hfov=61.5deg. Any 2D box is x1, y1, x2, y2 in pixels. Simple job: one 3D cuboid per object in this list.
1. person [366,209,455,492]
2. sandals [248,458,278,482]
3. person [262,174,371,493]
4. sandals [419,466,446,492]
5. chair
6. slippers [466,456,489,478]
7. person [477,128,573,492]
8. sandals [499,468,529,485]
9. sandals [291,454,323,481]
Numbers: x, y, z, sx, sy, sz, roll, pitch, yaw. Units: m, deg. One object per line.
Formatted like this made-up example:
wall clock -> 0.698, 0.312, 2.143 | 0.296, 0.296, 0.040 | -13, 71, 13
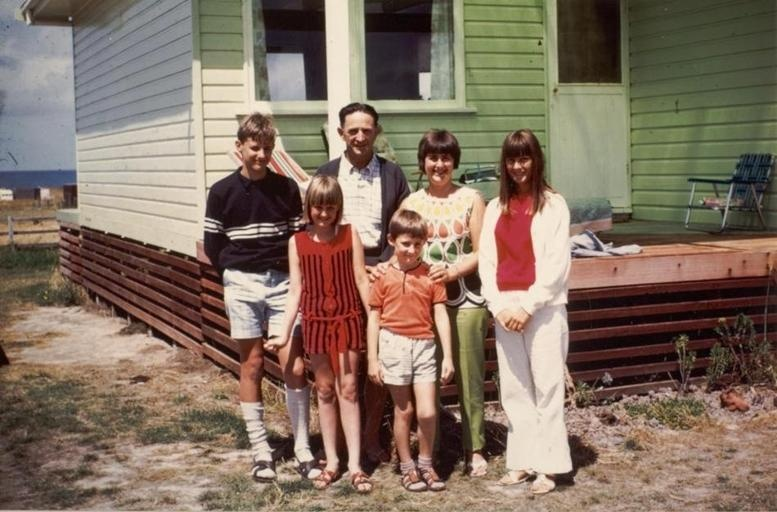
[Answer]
person -> 0.173, 0.773, 5.312 | 0.698, 2.290, 0.392 | -1, 9, 3
sandals -> -1.050, 1.821, 5.517 | 0.168, 0.129, 0.311 | 1, -6, -10
person -> -0.510, 0.632, 5.332 | 0.727, 2.552, 0.525 | -2, 9, -3
sandals -> 0.362, 1.819, 5.346 | 0.133, 0.122, 0.254 | 1, 11, -40
chair -> 4.860, -0.874, 9.512 | 1.117, 1.407, 1.086 | -1, 3, -23
slippers -> 0.752, 1.786, 5.528 | 0.103, 0.234, 0.060 | -3, -7, 13
person -> 1.094, 0.440, 5.304 | 0.705, 2.881, 0.496 | 0, 9, 8
sandals -> 1.036, 1.836, 5.394 | 0.224, 0.065, 0.119 | -3, 13, -11
sandals -> -0.667, 1.808, 5.509 | 0.129, 0.069, 0.245 | -33, 42, -25
